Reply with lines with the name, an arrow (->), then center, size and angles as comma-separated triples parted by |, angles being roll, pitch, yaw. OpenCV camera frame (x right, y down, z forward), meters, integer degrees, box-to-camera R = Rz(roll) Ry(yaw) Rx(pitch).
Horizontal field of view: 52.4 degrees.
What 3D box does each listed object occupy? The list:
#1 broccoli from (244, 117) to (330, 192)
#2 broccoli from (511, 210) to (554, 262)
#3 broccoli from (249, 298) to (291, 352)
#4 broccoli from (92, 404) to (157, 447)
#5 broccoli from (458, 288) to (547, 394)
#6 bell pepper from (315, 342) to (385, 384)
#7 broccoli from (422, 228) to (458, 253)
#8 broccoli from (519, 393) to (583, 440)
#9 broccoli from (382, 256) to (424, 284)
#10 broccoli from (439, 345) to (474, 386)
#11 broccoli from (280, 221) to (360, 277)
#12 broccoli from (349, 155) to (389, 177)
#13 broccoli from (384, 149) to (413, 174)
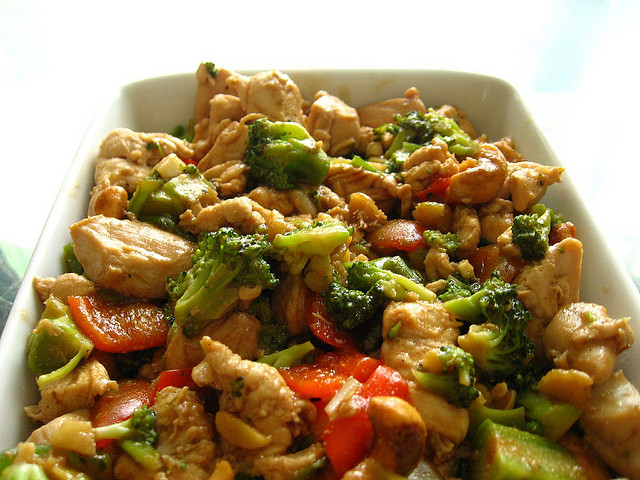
broccoli -> -0.222, -0.593, 4.583 | 0.501, 0.493, 0.210 | 0, -2, 16
broccoli -> 1.348, -0.051, 4.169 | 0.209, 0.148, 0.307 | 29, 59, -4
broccoli -> -0.319, 0.526, 4.067 | 0.232, 0.153, 0.324 | -1, 61, -38
broccoli -> -1.104, 1.040, 3.694 | 0.357, 0.147, 0.170 | 8, 36, -5
broccoli -> 1.082, 0.615, 3.871 | 0.421, 0.247, 0.657 | 0, 78, -16
bell pepper -> 0.162, 0.733, 3.891 | 0.230, 0.095, 0.227 | -8, 19, -40
broccoli -> 0.787, -0.030, 4.271 | 0.178, 0.070, 0.137 | 24, 49, 25
broccoli -> 1.360, 1.019, 3.824 | 0.264, 0.278, 0.097 | 33, 6, 14
broccoli -> 0.544, 0.203, 4.235 | 0.189, 0.078, 0.193 | 37, 18, -1
broccoli -> 0.788, 0.719, 3.759 | 0.172, 0.048, 0.210 | -31, 81, -14
broccoli -> -0.003, 0.049, 3.956 | 0.347, 0.350, 0.175 | 25, 38, -33
broccoli -> 0.360, -0.538, 4.734 | 0.236, 0.057, 0.066 | 31, 32, -6
broccoli -> 0.559, -0.579, 4.750 | 0.120, 0.065, 0.237 | -4, 35, 35
